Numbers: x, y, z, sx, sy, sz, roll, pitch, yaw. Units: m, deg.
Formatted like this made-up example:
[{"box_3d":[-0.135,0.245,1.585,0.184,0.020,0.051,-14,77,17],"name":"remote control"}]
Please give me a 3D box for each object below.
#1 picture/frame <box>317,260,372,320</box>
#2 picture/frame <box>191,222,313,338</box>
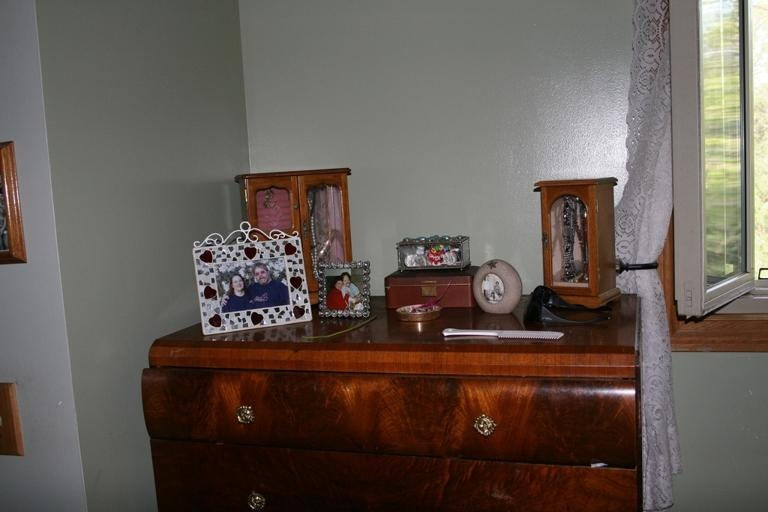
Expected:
[{"box_3d":[-0.149,0.128,2.245,0.198,0.212,0.032,-2,-5,9],"name":"picture/frame"},{"box_3d":[-0.468,0.095,2.209,0.362,0.370,0.009,-11,-11,-14],"name":"picture/frame"}]
